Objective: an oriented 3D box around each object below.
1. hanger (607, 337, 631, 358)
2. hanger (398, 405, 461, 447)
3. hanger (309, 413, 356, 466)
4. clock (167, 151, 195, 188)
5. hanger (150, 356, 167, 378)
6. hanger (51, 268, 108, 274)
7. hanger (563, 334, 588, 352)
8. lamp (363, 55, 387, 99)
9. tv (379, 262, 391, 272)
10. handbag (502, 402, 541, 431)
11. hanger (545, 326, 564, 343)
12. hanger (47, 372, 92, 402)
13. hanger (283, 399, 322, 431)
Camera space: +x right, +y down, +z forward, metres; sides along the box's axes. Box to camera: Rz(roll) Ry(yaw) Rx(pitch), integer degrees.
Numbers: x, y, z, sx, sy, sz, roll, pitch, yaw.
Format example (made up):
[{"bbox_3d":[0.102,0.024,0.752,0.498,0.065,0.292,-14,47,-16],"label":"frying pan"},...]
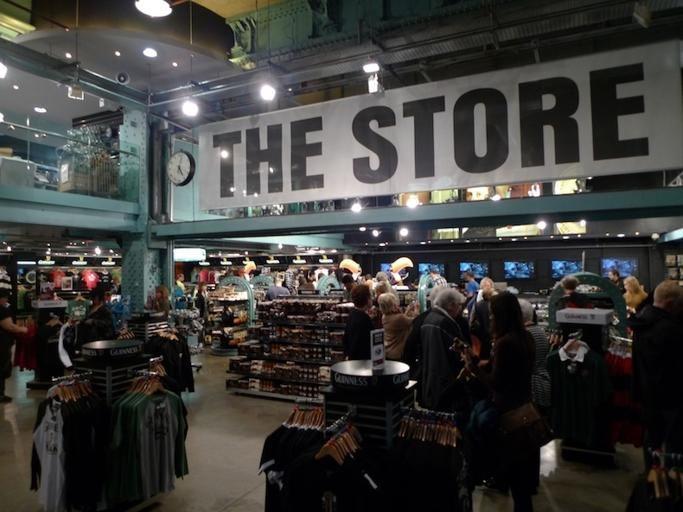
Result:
[{"bbox_3d":[3.367,1.095,6.390,0.264,0.146,0.199,7,-8,-26],"label":"hanger"},{"bbox_3d":[0.776,1.493,4.593,0.339,0.172,0.355,2,-3,25],"label":"hanger"},{"bbox_3d":[-0.058,1.566,4.455,0.289,0.234,0.403,-5,9,31],"label":"hanger"},{"bbox_3d":[-3.031,-1.646,9.884,0.693,0.823,0.183,-1,-4,26],"label":"clock"},{"bbox_3d":[-2.108,1.273,6.043,0.247,0.166,0.157,3,1,41],"label":"hanger"},{"bbox_3d":[-10.730,0.577,21.340,0.076,0.261,1.831,-2,-4,32],"label":"hanger"},{"bbox_3d":[2.810,1.026,6.326,0.250,0.231,0.144,2,-3,-10],"label":"hanger"},{"bbox_3d":[0.528,-2.805,8.317,0.280,0.498,1.034,1,-3,6],"label":"lamp"},{"bbox_3d":[1.645,0.418,19.890,0.343,0.417,0.537,4,-9,-42],"label":"tv"},{"bbox_3d":[1.752,1.551,5.100,0.375,0.268,0.066,1,-3,-4],"label":"handbag"},{"bbox_3d":[2.748,1.007,6.766,0.188,0.071,0.193,-19,20,51],"label":"hanger"},{"bbox_3d":[-2.889,1.393,5.596,0.262,0.385,0.121,11,-11,-9],"label":"hanger"},{"bbox_3d":[-0.310,1.448,4.803,0.225,0.132,0.317,1,-2,7],"label":"hanger"}]
